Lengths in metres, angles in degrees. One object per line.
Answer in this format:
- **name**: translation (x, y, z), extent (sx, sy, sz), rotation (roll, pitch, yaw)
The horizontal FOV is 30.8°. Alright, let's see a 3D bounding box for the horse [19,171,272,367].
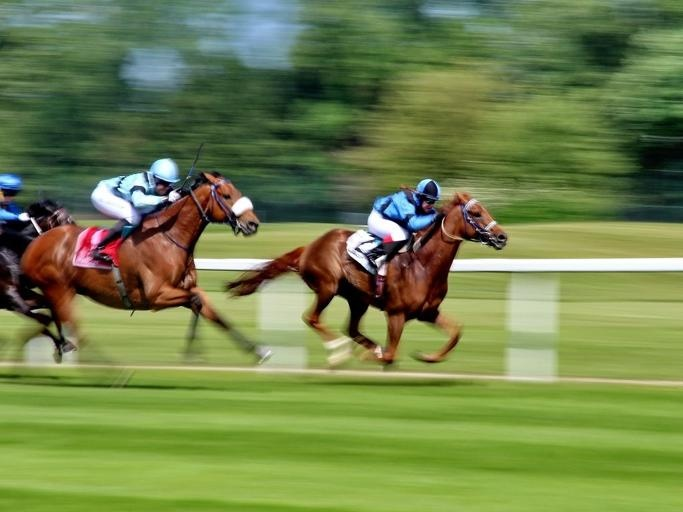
- **horse**: translation (-1.794, 0.189, 11.199), extent (2.593, 1.563, 0.690), rotation (-3, -2, 26)

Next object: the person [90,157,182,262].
- **person**: translation (-1.840, -0.411, 11.150), extent (0.859, 0.891, 0.506), rotation (7, 15, 4)

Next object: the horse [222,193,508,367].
- **horse**: translation (0.157, 0.253, 11.497), extent (3.202, 1.645, 0.738), rotation (5, 4, 37)

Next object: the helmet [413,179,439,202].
- **helmet**: translation (0.805, -0.595, 11.090), extent (0.187, 0.179, 0.210), rotation (13, 42, -26)

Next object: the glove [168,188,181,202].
- **glove**: translation (-1.484, -0.544, 11.065), extent (0.111, 0.026, 0.108), rotation (-33, 56, -18)
